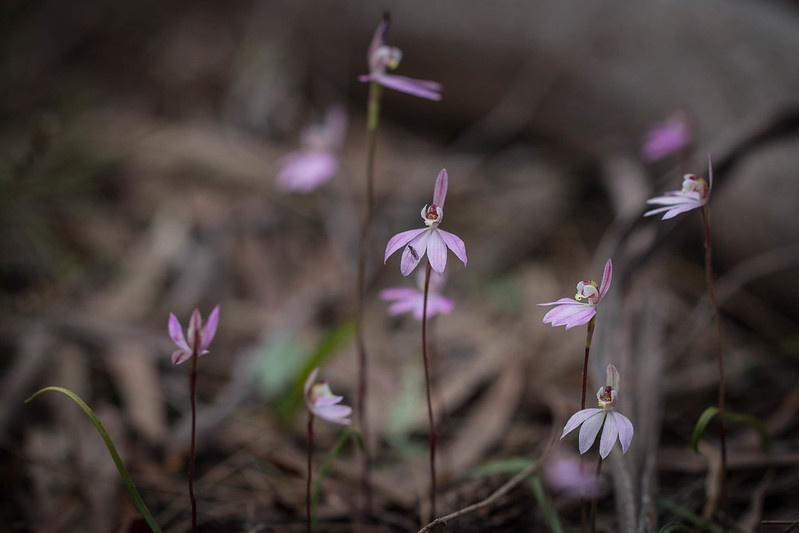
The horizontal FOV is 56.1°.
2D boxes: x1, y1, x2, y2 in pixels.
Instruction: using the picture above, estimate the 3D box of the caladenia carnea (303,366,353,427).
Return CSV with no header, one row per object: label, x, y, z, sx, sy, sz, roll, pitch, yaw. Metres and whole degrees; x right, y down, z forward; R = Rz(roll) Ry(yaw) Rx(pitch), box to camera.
caladenia carnea,-0.233,0.440,2.504,0.158,0.234,0.137,8,25,4
